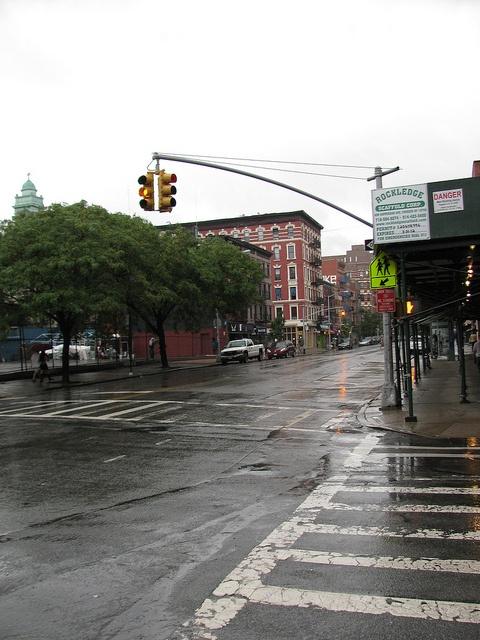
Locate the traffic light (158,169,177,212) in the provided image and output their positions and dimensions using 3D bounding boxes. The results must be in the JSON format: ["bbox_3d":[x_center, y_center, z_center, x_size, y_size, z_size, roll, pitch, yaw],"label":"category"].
[{"bbox_3d":[-1.587,-2.866,12.566,0.401,0.995,1.296,-4,0,-7],"label":"traffic light"}]

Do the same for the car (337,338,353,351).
[{"bbox_3d":[15.560,3.547,83.885,1.358,1.002,2.893,-4,-8,16],"label":"car"}]

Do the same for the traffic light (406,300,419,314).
[{"bbox_3d":[4.709,-0.355,15.400,0.253,0.322,0.548,-4,0,-13],"label":"traffic light"}]

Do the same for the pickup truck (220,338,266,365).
[{"bbox_3d":[0.237,2.547,47.620,1.718,1.246,3.500,-4,-6,26],"label":"pickup truck"}]

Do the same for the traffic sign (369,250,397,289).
[{"bbox_3d":[3.652,-1.258,14.583,0.639,0.797,0.431,-3,1,12],"label":"traffic sign"}]

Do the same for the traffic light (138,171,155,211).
[{"bbox_3d":[-2.097,-2.903,12.939,0.336,0.918,1.001,-4,0,-9],"label":"traffic light"}]

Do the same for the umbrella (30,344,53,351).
[{"bbox_3d":[-10.581,1.450,30.354,0.630,0.455,1.200,-3,0,36],"label":"umbrella"}]
